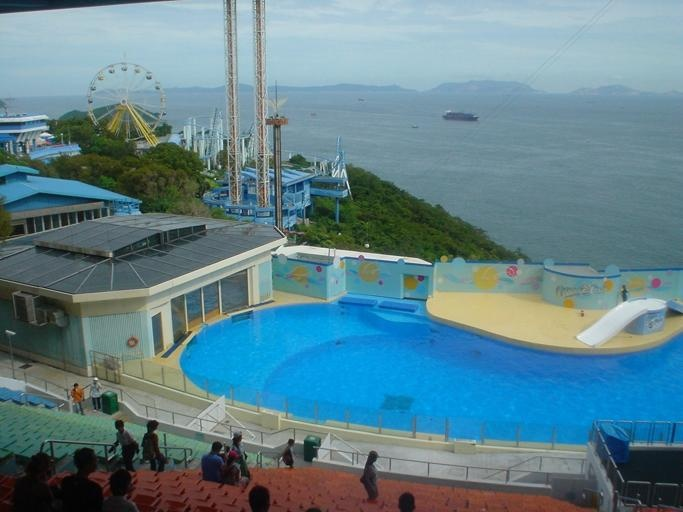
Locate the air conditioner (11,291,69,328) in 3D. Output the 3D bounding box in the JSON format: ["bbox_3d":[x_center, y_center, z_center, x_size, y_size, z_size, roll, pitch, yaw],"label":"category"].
[{"bbox_3d":[-14.943,2.587,28.042,2.105,1.087,0.581,9,18,14],"label":"air conditioner"}]
